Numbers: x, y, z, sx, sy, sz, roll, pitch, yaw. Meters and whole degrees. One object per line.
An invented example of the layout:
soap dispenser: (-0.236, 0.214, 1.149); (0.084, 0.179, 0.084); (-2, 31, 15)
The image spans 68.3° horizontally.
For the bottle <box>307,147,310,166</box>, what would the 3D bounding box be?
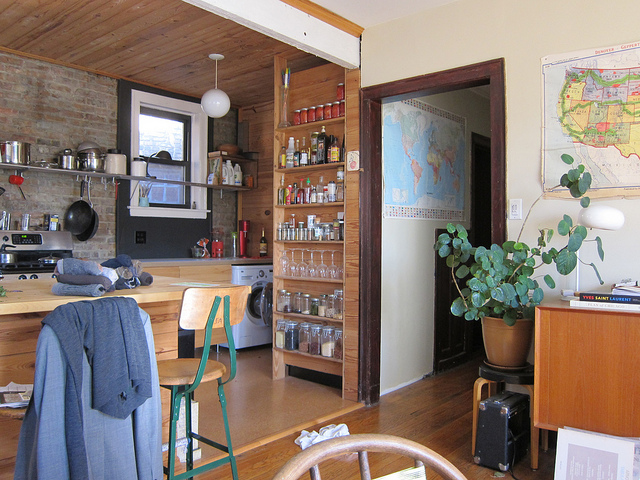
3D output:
bottle: (-0.101, -0.771, 4.335); (0.020, 0.157, 0.065); (1, 3, -1)

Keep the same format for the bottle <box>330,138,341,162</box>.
bottle: (0.140, -0.793, 4.144); (0.076, 0.222, 0.099); (0, 3, -24)

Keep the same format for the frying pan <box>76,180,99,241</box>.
frying pan: (-2.393, -0.266, 4.890); (0.302, 0.524, 0.098); (-3, 8, 28)

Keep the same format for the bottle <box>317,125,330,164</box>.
bottle: (0.035, -0.856, 4.214); (0.108, 0.341, 0.059); (1, 3, 1)

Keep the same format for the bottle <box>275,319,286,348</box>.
bottle: (-0.375, 0.889, 4.464); (0.086, 0.249, 0.097); (1, 3, -4)

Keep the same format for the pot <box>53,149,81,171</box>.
pot: (-2.486, -0.761, 4.726); (0.244, 0.253, 0.245); (0, -1, 0)

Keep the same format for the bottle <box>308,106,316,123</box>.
bottle: (-0.067, -1.133, 4.269); (0.092, 0.136, 0.032); (4, 4, 44)

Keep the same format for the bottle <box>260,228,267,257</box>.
bottle: (-0.703, 0.039, 5.947); (0.088, 0.337, 0.261); (1, 3, -6)

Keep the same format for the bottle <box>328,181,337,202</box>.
bottle: (0.113, -0.431, 4.184); (0.091, 0.190, 0.094); (1, 3, 0)

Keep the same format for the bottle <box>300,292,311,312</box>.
bottle: (-0.118, 0.588, 4.411); (0.132, 0.182, 0.064); (3, 4, 33)

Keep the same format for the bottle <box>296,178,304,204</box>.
bottle: (-0.181, -0.462, 4.413); (0.068, 0.250, 0.206); (1, 3, -4)

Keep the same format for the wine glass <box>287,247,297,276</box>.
wine glass: (-0.269, 0.201, 4.530); (0.124, 0.255, 0.091); (2, 3, 19)

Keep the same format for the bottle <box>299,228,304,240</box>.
bottle: (-0.165, -0.057, 4.362); (0.041, 0.104, 0.034); (1, 3, -4)

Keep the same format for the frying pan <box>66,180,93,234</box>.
frying pan: (-2.473, -0.344, 4.847); (0.296, 0.502, 0.092); (-3, 2, -6)

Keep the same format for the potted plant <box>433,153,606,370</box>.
potted plant: (1.279, 0.290, 3.080); (0.916, 1.070, 0.930); (3, -5, 41)

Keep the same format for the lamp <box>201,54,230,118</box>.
lamp: (-1.050, -1.524, 4.738); (0.256, 0.566, 0.380); (0, 3, -15)

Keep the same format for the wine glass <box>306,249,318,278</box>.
wine glass: (-0.065, 0.213, 4.388); (0.162, 0.247, 0.103); (3, 3, 26)

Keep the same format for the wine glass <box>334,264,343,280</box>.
wine glass: (0.174, 0.295, 4.171); (0.100, 0.152, 0.095); (0, -6, 19)
